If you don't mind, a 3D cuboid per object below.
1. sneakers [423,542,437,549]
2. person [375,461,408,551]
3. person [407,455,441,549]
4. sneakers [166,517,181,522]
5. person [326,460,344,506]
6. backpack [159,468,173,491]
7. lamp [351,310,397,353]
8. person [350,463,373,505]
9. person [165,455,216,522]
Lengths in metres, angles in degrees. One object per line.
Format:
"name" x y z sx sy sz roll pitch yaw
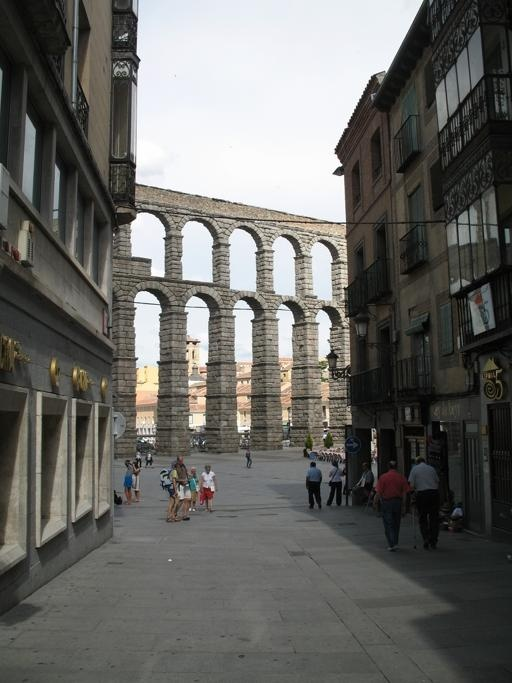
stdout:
"sneakers" 2.846 3.346 10.973 0.203 0.083 0.189 -3 -9 12
"person" 2.244 2.765 11.010 0.515 1.299 0.508 -2 -7 13
"person" 2.798 2.679 11.181 0.484 1.475 0.594 -2 -7 16
"sneakers" -2.109 4.511 16.946 0.310 0.113 0.183 -6 -7 17
"person" 2.521 4.574 21.263 0.369 1.464 0.468 0 -32 8
"backpack" -2.315 3.607 17.313 0.274 0.567 1.057 1 -9 -12
"lamp" 3.310 -0.315 19.499 0.975 1.803 0.946 4 -12 -12
"person" 3.171 4.272 19.907 0.564 1.262 1.875 -1 -9 6
"person" -1.996 3.929 18.028 0.699 1.600 2.826 0 -9 -5
